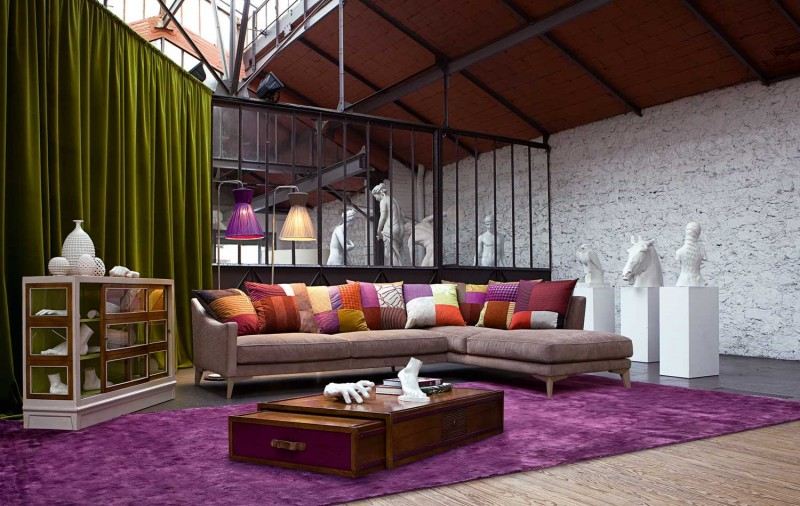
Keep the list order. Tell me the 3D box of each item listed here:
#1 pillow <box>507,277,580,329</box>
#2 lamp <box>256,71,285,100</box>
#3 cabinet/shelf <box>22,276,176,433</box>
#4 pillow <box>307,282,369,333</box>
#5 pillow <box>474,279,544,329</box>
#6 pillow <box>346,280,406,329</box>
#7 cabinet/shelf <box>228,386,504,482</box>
[{"bbox_3d":[1.526,0.558,5.782,0.628,0.461,0.330,2,-6,39],"label":"pillow"},{"bbox_3d":[-1.940,-2.454,7.987,0.302,0.498,0.427,0,-3,-18],"label":"lamp"},{"bbox_3d":[-2.448,0.821,4.302,0.484,1.003,1.274,-4,-6,21],"label":"cabinet/shelf"},{"bbox_3d":[-0.671,0.608,5.813,0.607,0.407,0.273,-10,5,-21],"label":"pillow"},{"bbox_3d":[1.233,0.606,6.173,0.660,0.543,0.201,-7,-33,46],"label":"pillow"},{"bbox_3d":[-0.274,0.594,6.007,0.645,0.453,0.266,-1,-48,-17],"label":"pillow"},{"bbox_3d":[-0.081,1.054,3.518,0.648,0.175,1.102,-4,-5,44],"label":"cabinet/shelf"}]
